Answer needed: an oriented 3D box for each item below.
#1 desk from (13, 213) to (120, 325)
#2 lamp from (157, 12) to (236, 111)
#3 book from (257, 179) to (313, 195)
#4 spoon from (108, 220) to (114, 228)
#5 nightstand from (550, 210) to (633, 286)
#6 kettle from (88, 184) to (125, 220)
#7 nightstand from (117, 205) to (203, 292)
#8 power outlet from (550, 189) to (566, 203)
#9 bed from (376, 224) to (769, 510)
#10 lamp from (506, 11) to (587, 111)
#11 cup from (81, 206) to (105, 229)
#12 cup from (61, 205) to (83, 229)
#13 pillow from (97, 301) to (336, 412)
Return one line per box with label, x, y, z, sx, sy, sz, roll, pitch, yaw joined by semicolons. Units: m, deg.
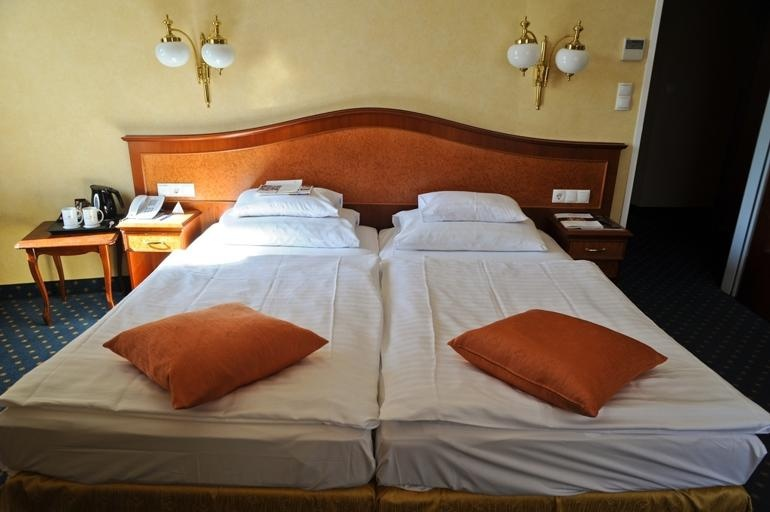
desk;-2.159;0.136;3.937;0.793;0.763;0.780;-4;15;-12
lamp;-1.345;-1.415;3.627;0.588;0.705;0.256;2;36;-5
book;-0.722;-0.489;3.678;0.209;0.050;0.213;1;20;0
spoon;-1.963;-0.230;3.674;0.026;0.030;0.075;-8;34;-23
nightstand;1.481;-0.083;3.891;0.497;0.461;0.484;-1;35;1
kettle;-2.060;-0.410;3.900;0.302;0.296;0.204;1;18;-37
nightstand;-1.730;0.021;3.691;0.349;0.471;0.310;-1;14;-37
power outlet;1.319;-0.458;3.904;0.097;0.095;0.044;-1;11;-3
bed;0.668;0.680;3.022;1.817;0.670;1.774;1;33;2
lamp;1.156;-1.376;3.662;0.594;0.635;0.300;2;20;7
cup;-2.077;-0.267;3.626;0.113;0.150;0.177;9;12;34
cup;-2.211;-0.267;3.695;0.118;0.159;0.179;9;12;36
pillow;-0.817;0.407;2.245;0.528;0.167;0.551;10;16;36
